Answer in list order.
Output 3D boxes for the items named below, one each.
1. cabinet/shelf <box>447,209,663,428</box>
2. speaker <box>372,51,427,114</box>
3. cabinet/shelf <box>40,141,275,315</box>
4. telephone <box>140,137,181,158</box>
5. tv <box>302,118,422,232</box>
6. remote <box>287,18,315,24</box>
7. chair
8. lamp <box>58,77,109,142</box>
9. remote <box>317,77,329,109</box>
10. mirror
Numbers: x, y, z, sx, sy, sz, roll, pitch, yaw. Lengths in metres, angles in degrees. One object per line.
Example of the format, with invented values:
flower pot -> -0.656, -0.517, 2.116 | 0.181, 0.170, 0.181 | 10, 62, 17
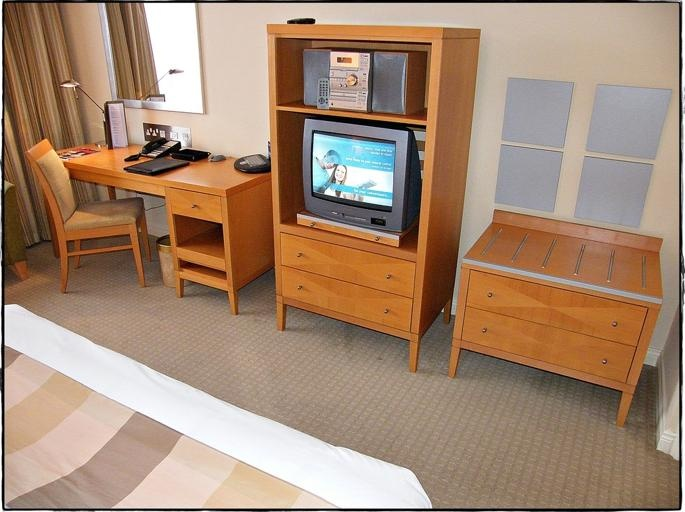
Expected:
cabinet/shelf -> 1.263, 0.369, 2.974 | 1.050, 0.781, 0.784 | 16, 22, 35
speaker -> 0.313, -0.950, 2.795 | 0.368, 0.357, 0.382 | 11, 22, 32
cabinet/shelf -> -1.409, -0.292, 3.963 | 1.814, 0.858, 0.639 | 12, 25, 24
telephone -> -1.428, -0.905, 3.935 | 0.185, 0.079, 0.248 | 17, 34, 27
tv -> 0.122, -0.482, 2.885 | 0.581, 0.457, 0.329 | 15, 36, 22
remote -> -0.238, -1.344, 2.829 | 0.137, 0.037, 0.290 | 1, 24, 0
chair -> -1.907, -0.342, 3.849 | 0.789, 1.011, 0.604 | 0, 22, -10
lamp -> -2.297, -1.321, 4.380 | 0.531, 0.626, 0.250 | -12, 45, -35
remote -> -0.111, -0.934, 2.836 | 0.080, 0.165, 0.051 | 9, 27, 15
mirror -> -1.503, -1.613, 3.965 | 0.864, 0.944, 0.035 | 18, 41, 22
